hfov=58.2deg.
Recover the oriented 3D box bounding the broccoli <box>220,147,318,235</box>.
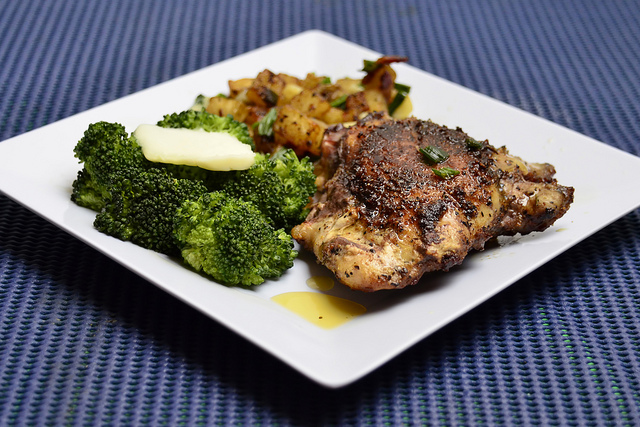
[{"bbox_3d":[-0.294,-0.064,3.259,0.479,0.229,0.464,36,67,0],"label":"broccoli"}]

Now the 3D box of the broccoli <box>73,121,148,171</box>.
[{"bbox_3d":[-1.107,-0.400,3.076,0.422,0.313,0.247,-17,111,-34],"label":"broccoli"}]

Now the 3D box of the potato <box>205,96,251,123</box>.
[{"bbox_3d":[-0.567,-0.662,3.577,0.224,0.061,0.155,25,38,-1],"label":"potato"}]

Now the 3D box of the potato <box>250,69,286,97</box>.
[{"bbox_3d":[-0.339,-0.813,3.622,0.181,0.048,0.186,40,64,18],"label":"potato"}]

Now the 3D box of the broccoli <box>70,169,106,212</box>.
[{"bbox_3d":[-1.196,-0.119,2.946,0.137,0.228,0.181,-9,107,-35],"label":"broccoli"}]
